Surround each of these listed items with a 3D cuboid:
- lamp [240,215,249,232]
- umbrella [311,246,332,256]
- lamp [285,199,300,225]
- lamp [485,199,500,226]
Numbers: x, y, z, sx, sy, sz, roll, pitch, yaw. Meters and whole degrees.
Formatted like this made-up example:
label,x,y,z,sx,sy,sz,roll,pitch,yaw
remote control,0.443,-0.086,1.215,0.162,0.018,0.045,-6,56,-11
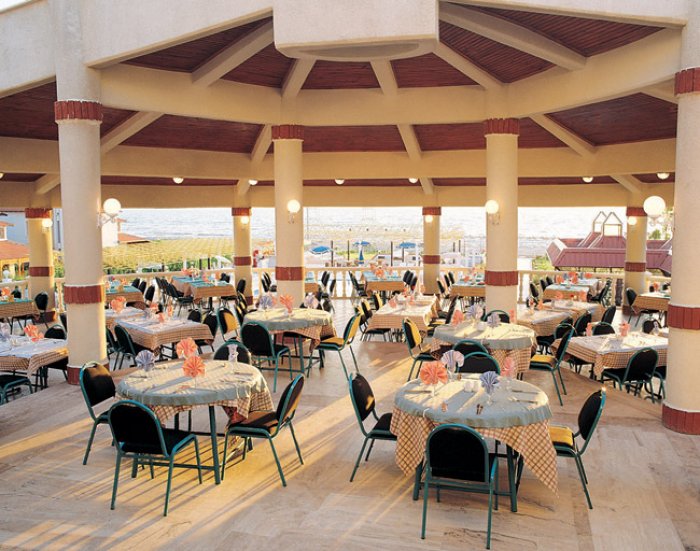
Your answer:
label,x,y,z,sx,sy,sz,roll,pitch,yaw
lamp,-3.414,-1.737,16.430,0.274,0.404,0.216,-3,9,-17
umbrella,-2.393,-2.029,41.630,1.238,0.783,3.040,-1,6,-10
lamp,-1.113,-1.283,10.011,0.308,0.475,0.172,-2,9,-12
lamp,2.695,-1.199,9.439,0.234,0.478,0.257,2,8,14
